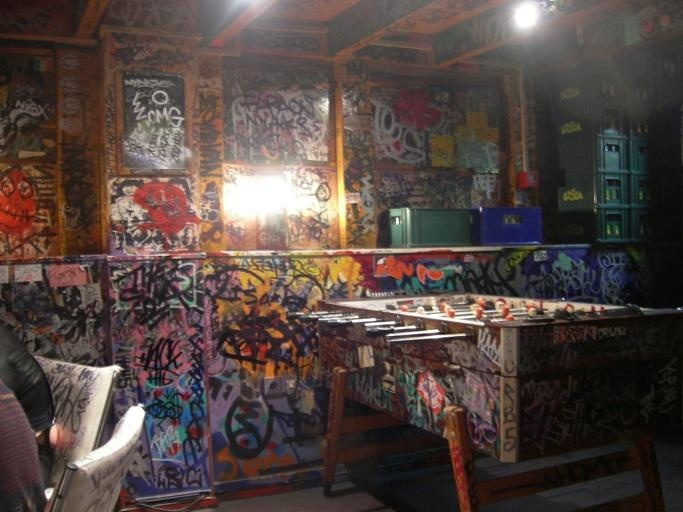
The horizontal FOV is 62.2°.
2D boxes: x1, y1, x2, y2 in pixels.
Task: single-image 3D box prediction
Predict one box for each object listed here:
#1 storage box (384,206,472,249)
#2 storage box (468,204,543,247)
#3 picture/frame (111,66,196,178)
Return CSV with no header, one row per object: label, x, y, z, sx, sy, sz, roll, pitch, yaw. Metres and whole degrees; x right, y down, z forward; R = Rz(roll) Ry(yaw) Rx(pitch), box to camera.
storage box,0.870,-0.267,5.469,0.802,0.370,0.388,0,3,10
storage box,1.635,-0.295,5.625,0.584,0.329,0.413,0,-2,-20
picture/frame,-1.441,-1.043,4.402,0.558,0.809,0.074,-7,30,-31
